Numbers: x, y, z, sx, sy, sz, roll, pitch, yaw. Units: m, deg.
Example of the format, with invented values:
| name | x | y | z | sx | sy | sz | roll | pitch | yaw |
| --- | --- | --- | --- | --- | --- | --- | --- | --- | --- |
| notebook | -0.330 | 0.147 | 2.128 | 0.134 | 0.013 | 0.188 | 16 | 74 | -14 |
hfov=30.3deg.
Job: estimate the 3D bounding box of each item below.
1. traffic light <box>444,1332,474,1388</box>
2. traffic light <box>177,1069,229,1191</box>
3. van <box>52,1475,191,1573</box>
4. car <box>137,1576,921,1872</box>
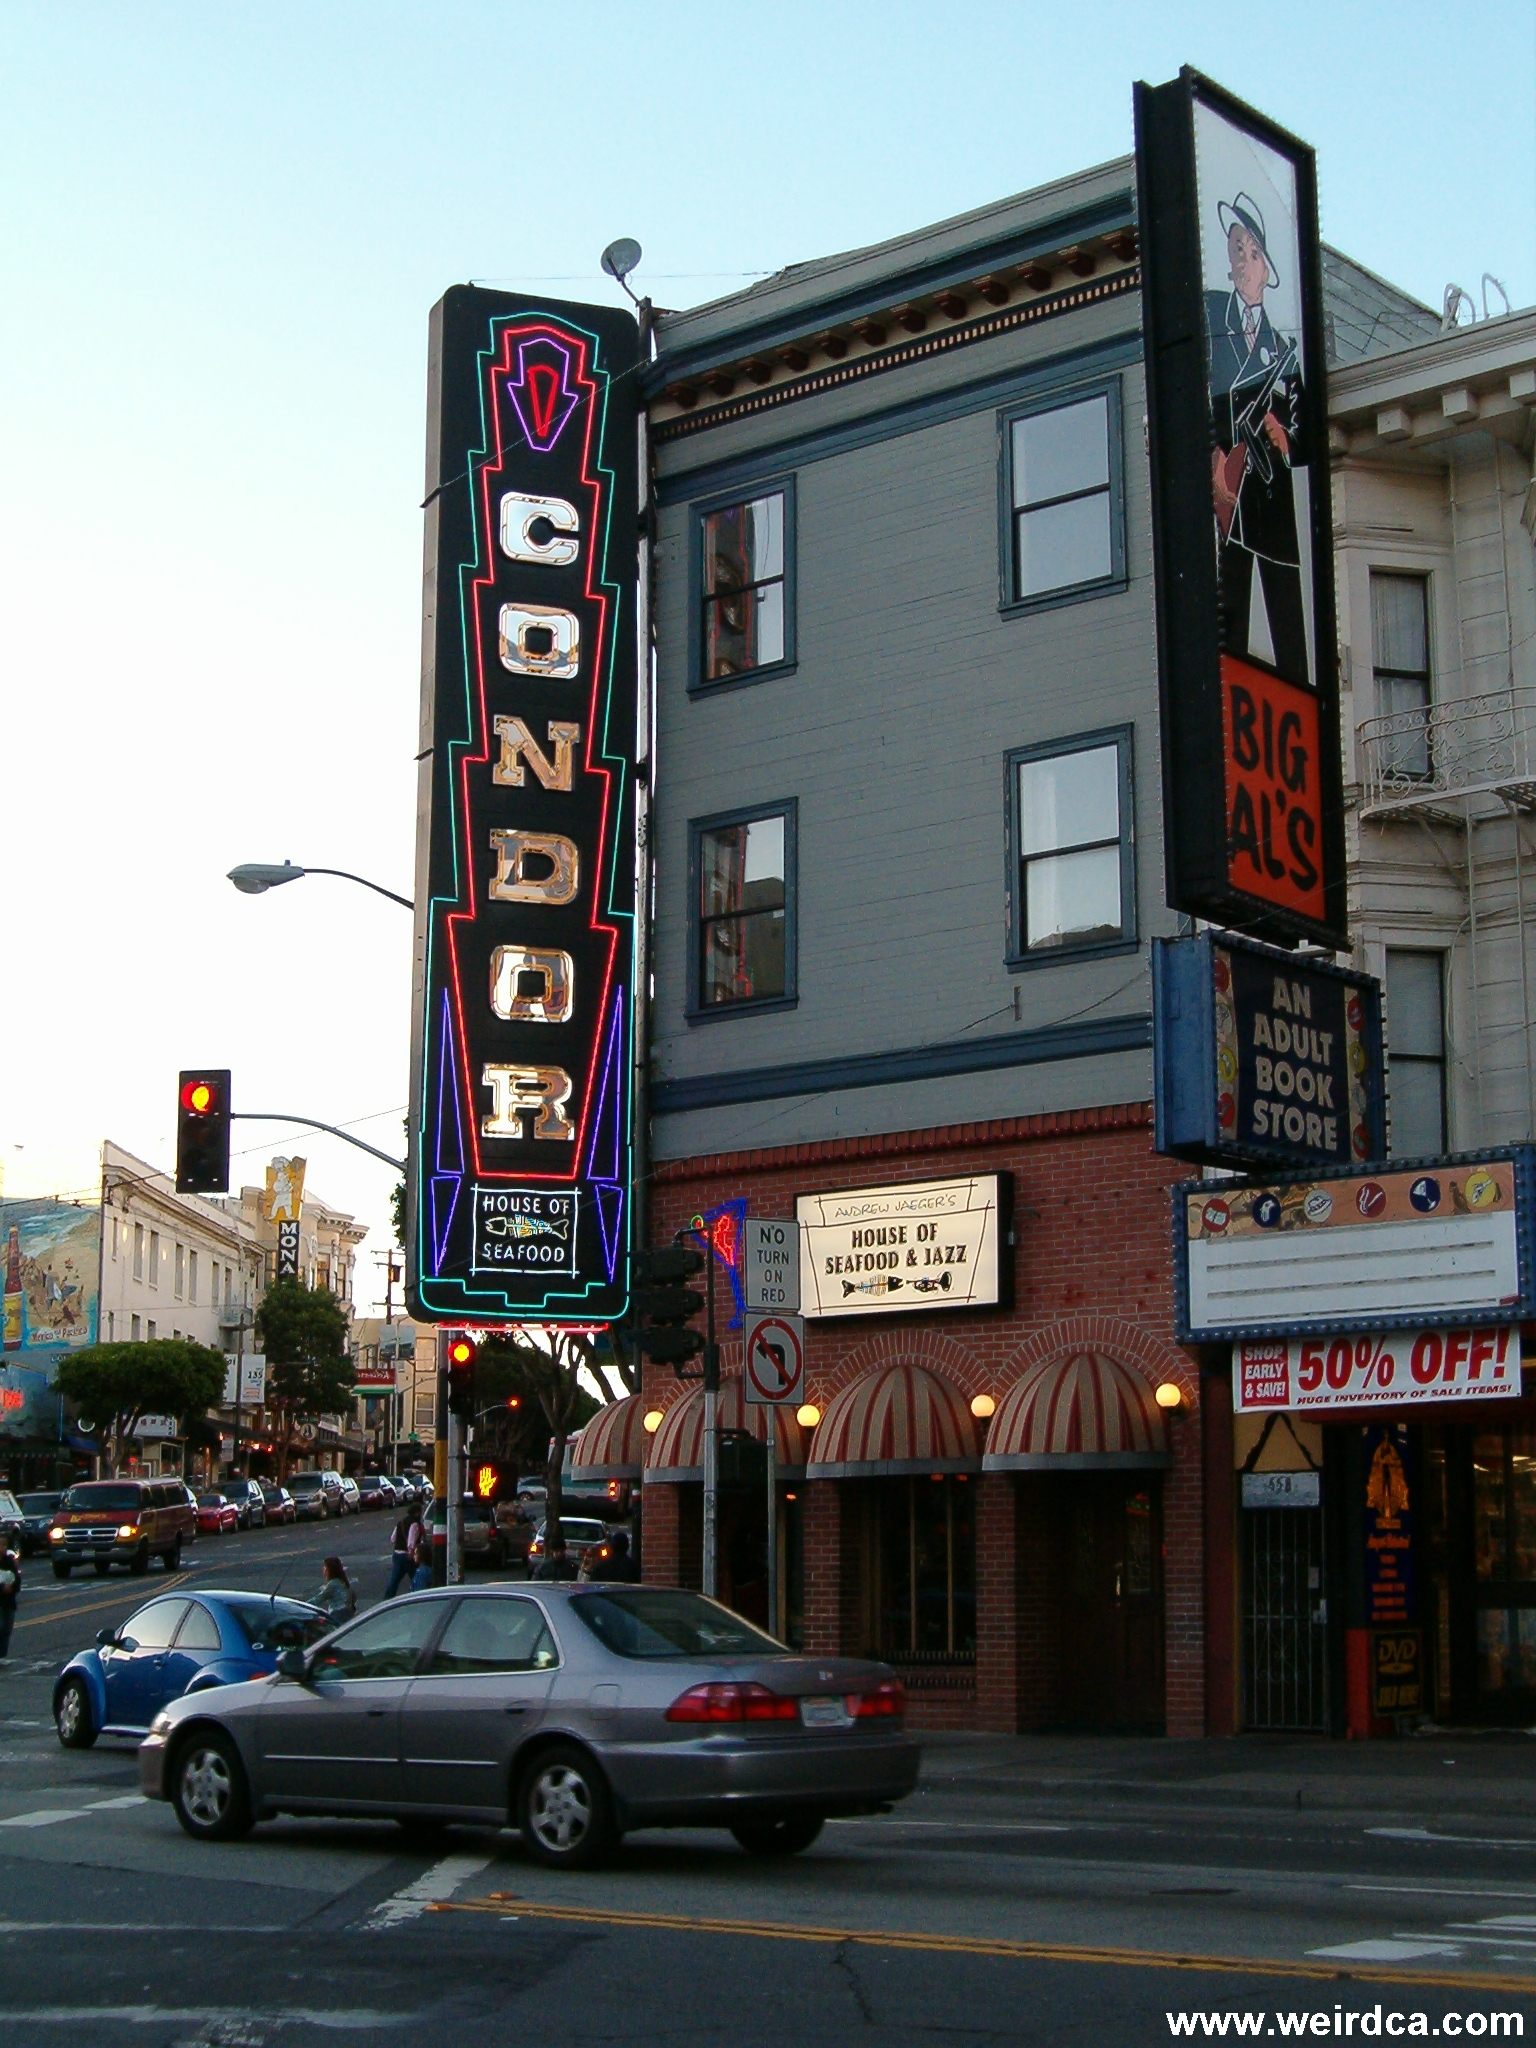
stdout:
| name | x | y | z | sx | sy | sz | roll | pitch | yaw |
| --- | --- | --- | --- | --- | --- | --- | --- | --- | --- |
| traffic light | -2.638 | 2.847 | 24.295 | 0.219 | 0.320 | 0.102 | -18 | -32 | 27 |
| traffic light | -5.721 | 1.030 | 28.780 | 0.520 | 1.147 | 1.516 | 2 | -11 | -12 |
| van | -12.299 | 9.464 | 54.288 | 1.502 | 1.343 | 3.160 | -3 | -12 | 6 |
| car | -1.294 | 3.417 | 14.052 | 4.274 | 1.274 | 1.538 | -11 | -15 | 43 |
